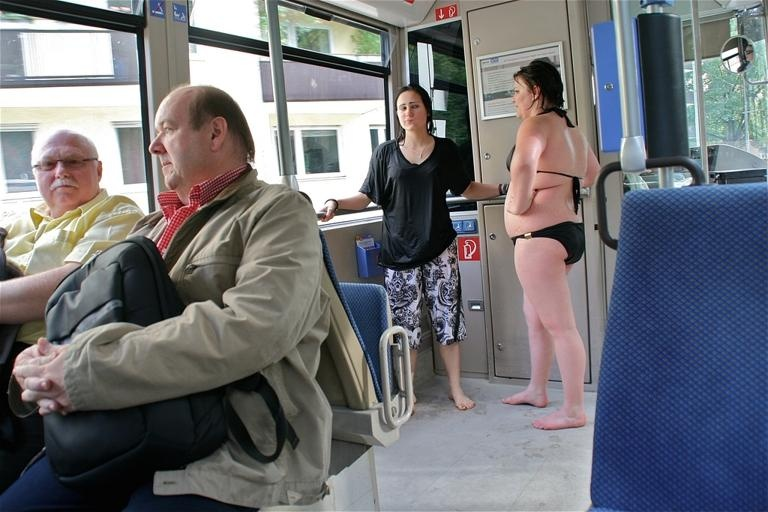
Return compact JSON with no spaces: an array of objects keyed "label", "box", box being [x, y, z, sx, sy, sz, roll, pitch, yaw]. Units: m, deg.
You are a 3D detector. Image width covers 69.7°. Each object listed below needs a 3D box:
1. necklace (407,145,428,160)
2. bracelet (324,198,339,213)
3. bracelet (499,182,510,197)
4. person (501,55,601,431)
[{"label":"necklace","box":[0.236,-0.758,3.966,0.096,0.124,0.037,-11,-6,9]},{"label":"bracelet","box":[-0.375,-0.361,3.866,0.119,0.056,0.146,-1,9,0]},{"label":"bracelet","box":[0.901,-0.511,4.146,0.102,0.098,0.038,9,-11,-3]},{"label":"person","box":[1.074,-0.072,3.594,0.541,2.368,0.521,-4,7,21]}]
